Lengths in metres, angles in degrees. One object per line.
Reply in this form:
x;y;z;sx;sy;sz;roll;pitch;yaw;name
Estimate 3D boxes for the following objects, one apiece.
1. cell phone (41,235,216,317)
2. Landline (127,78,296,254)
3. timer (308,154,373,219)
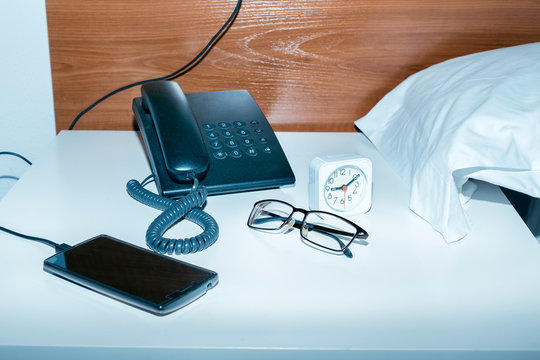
-0.222;0.125;0.705;0.231;0.023;0.117;16;29;21;cell phone
-0.124;-0.052;0.920;0.335;0.096;0.463;10;47;-8;Landline
0.136;0.016;0.855;0.128;0.109;0.043;-1;2;-11;timer
